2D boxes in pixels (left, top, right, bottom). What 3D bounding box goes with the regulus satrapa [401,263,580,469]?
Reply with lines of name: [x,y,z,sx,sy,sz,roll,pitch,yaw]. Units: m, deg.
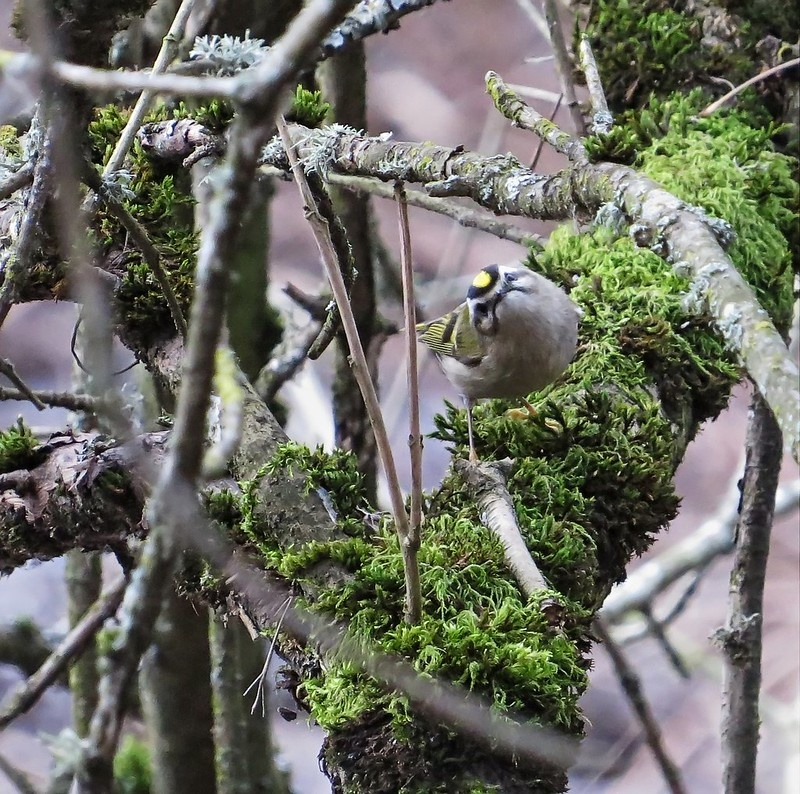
regulus satrapa: [0.336,-0.176,4.679,0.334,0.490,0.794,-23,31,-6]
